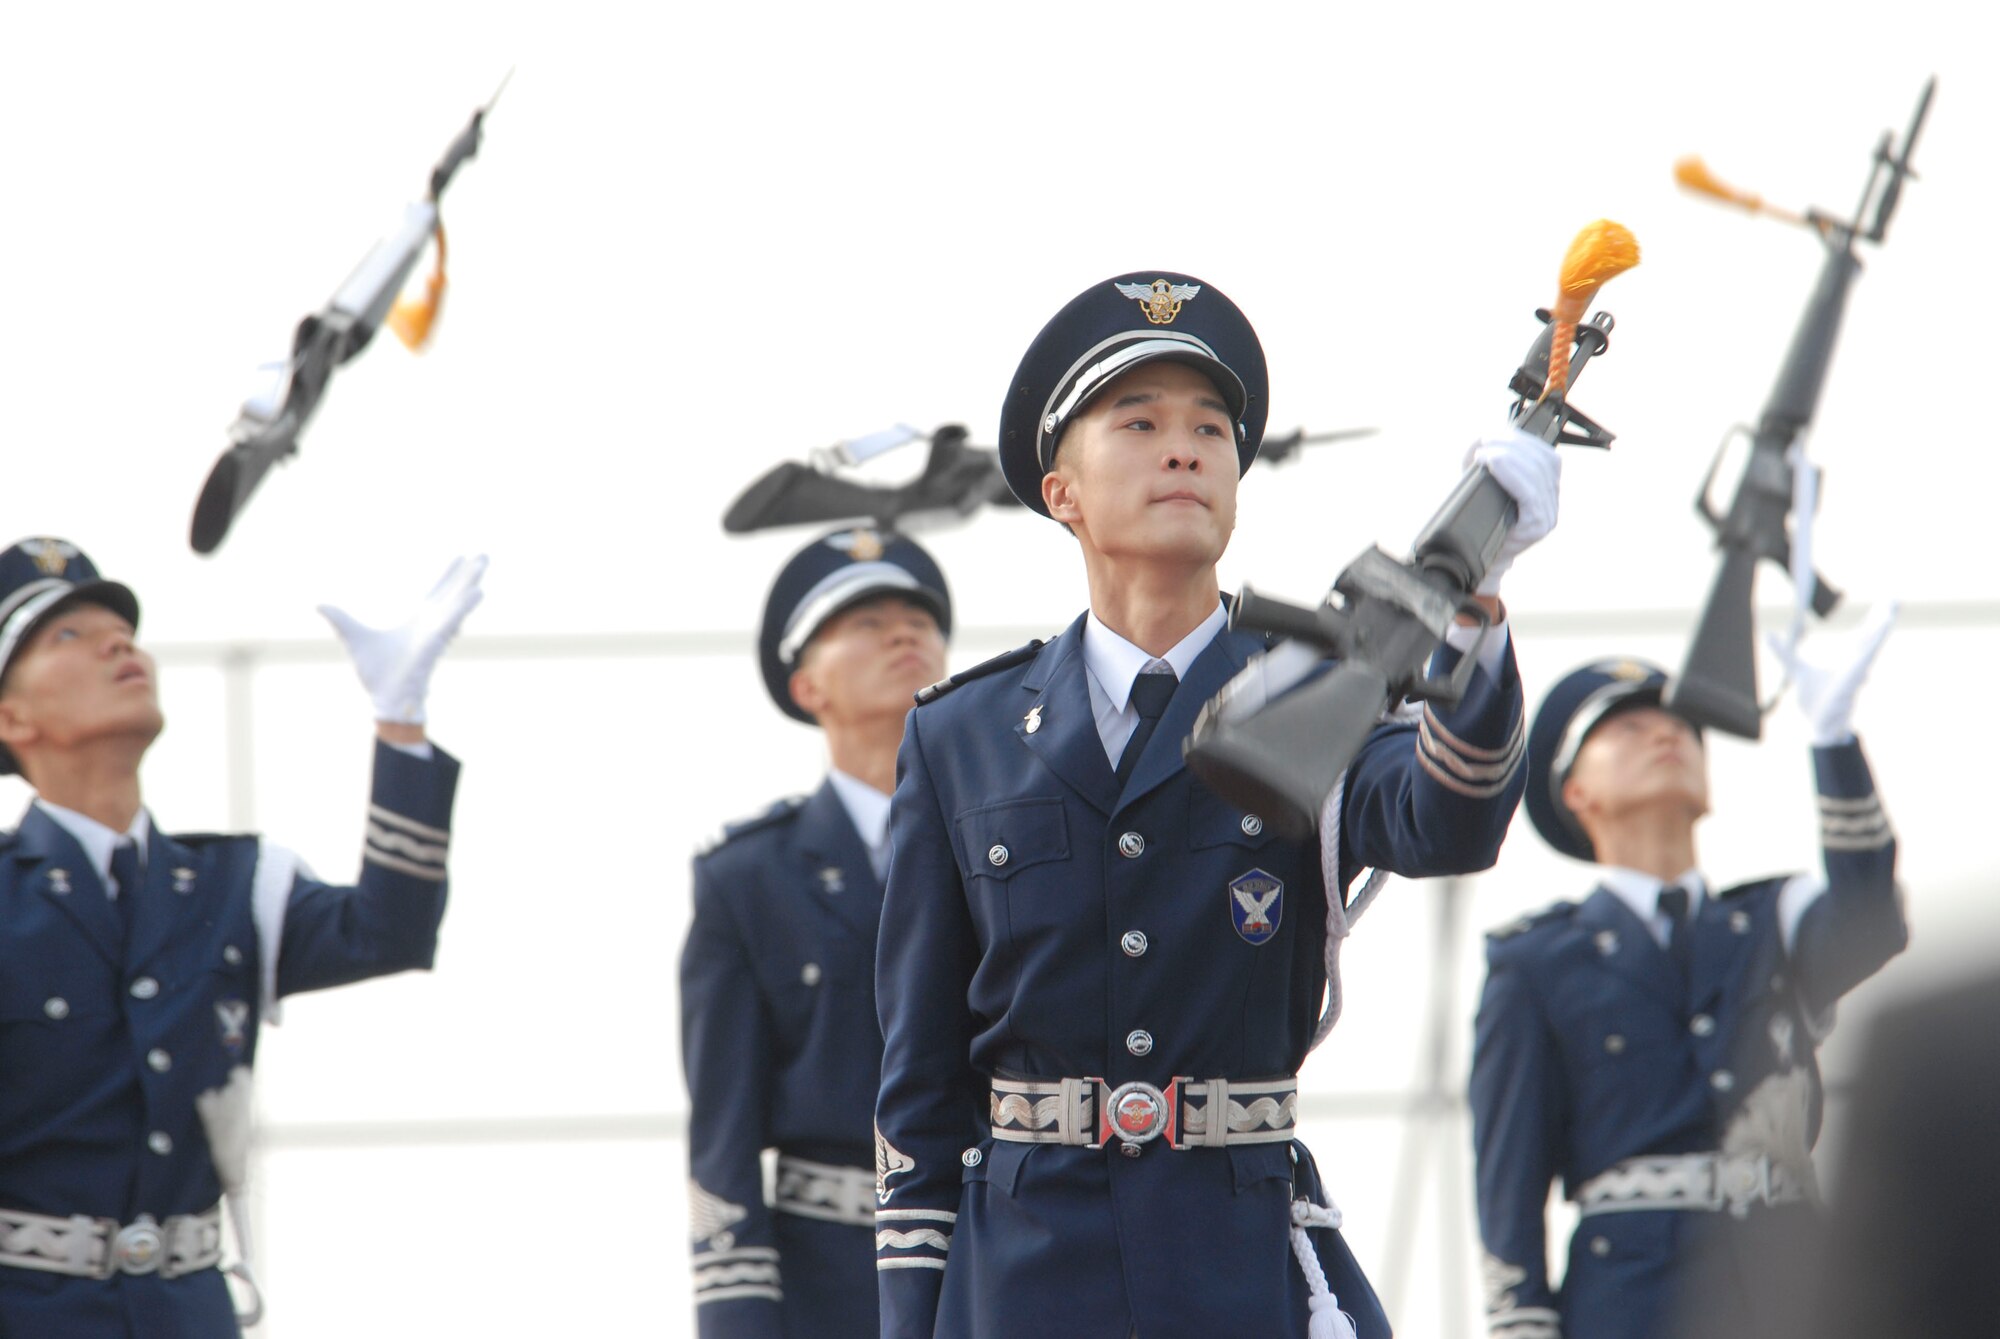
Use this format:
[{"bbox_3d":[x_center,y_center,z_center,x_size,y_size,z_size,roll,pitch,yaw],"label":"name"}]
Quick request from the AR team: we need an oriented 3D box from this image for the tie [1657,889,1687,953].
[{"bbox_3d":[1.675,0.636,11.605,0.049,0.181,0.059,2,-23,4],"label":"tie"}]

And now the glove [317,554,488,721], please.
[{"bbox_3d":[-1.448,-0.037,11.162,0.376,0.400,0.392,4,-19,-13],"label":"glove"}]

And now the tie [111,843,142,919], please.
[{"bbox_3d":[-2.093,0.514,11.160,0.103,0.154,0.037,9,-14,-37],"label":"tie"}]

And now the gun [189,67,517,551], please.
[{"bbox_3d":[-1.386,-0.652,9.594,0.073,1.446,0.424,33,-12,-3],"label":"gun"}]

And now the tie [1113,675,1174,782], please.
[{"bbox_3d":[0.312,0.090,9.869,0.074,0.302,0.078,27,-25,-13],"label":"tie"}]

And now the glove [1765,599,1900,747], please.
[{"bbox_3d":[1.921,0.018,10.760,0.095,0.339,0.326,-7,-7,24],"label":"glove"}]

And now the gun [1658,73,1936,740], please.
[{"bbox_3d":[1.525,-0.293,9.050,0.414,1.359,0.091,13,-15,1],"label":"gun"}]

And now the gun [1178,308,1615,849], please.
[{"bbox_3d":[0.758,-0.074,9.472,0.482,1.242,0.290,39,-16,3],"label":"gun"}]
